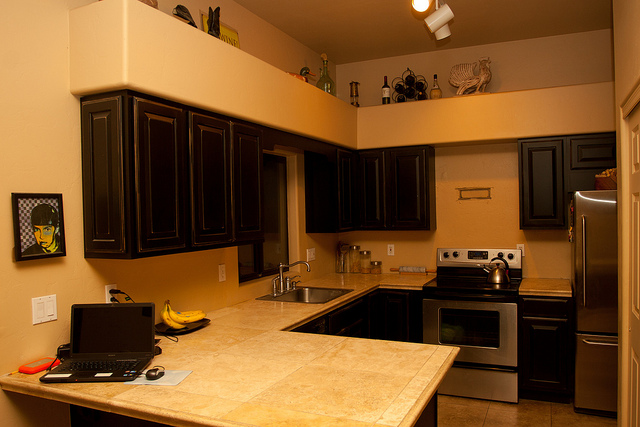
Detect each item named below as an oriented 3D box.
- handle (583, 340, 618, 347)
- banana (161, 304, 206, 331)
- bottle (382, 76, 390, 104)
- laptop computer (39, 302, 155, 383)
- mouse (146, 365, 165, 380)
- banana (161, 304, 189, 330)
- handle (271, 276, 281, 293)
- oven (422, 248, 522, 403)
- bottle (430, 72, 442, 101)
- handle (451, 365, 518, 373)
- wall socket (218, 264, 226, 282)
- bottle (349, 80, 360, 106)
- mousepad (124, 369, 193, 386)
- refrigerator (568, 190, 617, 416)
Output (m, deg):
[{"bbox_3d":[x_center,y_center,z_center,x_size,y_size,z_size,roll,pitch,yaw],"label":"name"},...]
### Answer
[{"bbox_3d":[2.462,1.140,4.126,0.254,0.049,0.015,4,9,23],"label":"handle"},{"bbox_3d":[-0.997,0.735,3.362,0.158,0.165,0.273,2,-6,37],"label":"banana"},{"bbox_3d":[0.732,-1.383,5.235,0.077,0.302,0.201,1,8,5],"label":"bottle"},{"bbox_3d":[-1.274,0.762,2.810,0.580,0.356,0.405,-1,-4,0],"label":"laptop computer"},{"bbox_3d":[-0.960,0.900,2.728,0.095,0.056,0.213,-2,8,-14],"label":"mouse"},{"bbox_3d":[-1.038,0.731,3.318,0.171,0.179,0.062,-2,9,-18],"label":"banana"},{"bbox_3d":[-0.428,0.664,4.458,0.085,0.138,0.177,-1,8,-10],"label":"handle"},{"bbox_3d":[1.582,1.081,4.787,0.966,1.381,0.741,-3,3,37],"label":"oven"},{"bbox_3d":[1.256,-1.395,5.087,0.124,0.343,0.365,2,8,12],"label":"bottle"},{"bbox_3d":[1.570,1.488,4.496,0.591,0.054,0.040,3,9,16],"label":"handle"},{"bbox_3d":[-0.832,0.492,3.926,0.021,0.147,0.072,5,10,28],"label":"wall socket"},{"bbox_3d":[0.381,-1.382,5.389,0.090,0.275,0.226,1,8,4],"label":"bottle"},{"bbox_3d":[-0.925,0.928,2.672,0.338,0.024,0.168,1,8,4],"label":"mousepad"},{"bbox_3d":[2.434,0.790,4.142,0.431,2.005,0.262,3,9,16],"label":"refrigerator"}]
